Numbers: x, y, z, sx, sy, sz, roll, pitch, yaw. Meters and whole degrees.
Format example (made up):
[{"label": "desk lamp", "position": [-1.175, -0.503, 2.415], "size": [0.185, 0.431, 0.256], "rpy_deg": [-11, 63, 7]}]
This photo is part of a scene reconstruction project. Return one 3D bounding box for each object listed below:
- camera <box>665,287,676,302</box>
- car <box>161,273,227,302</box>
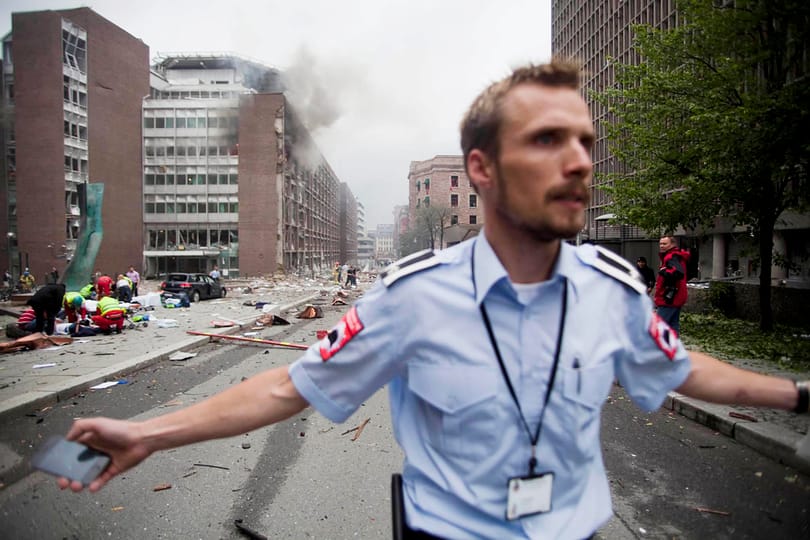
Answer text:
[{"label": "camera", "position": [5.634, 0.483, 11.802], "size": [0.192, 0.214, 0.354], "rpy_deg": [22, 32, 17]}, {"label": "car", "position": [-10.532, 0.812, 28.162], "size": [1.324, 1.057, 2.828], "rpy_deg": [3, 5, 22]}]
